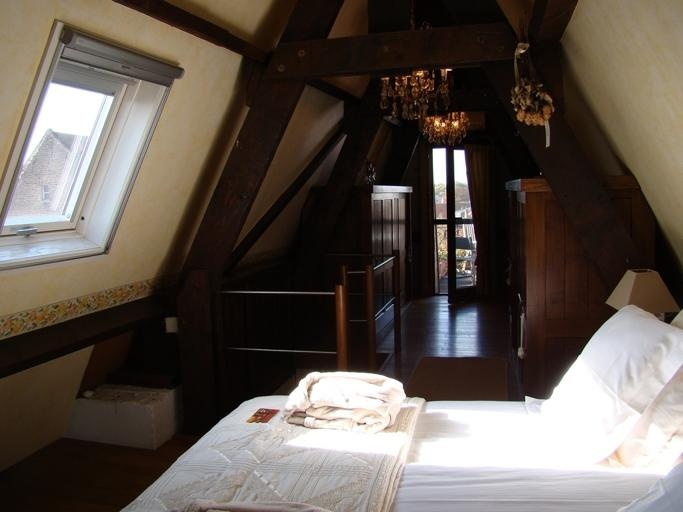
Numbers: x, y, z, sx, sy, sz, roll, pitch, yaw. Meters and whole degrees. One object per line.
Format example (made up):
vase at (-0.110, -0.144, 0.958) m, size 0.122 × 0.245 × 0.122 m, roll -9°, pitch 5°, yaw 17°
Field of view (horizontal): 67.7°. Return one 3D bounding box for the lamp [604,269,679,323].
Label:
lamp at (1.818, 0.192, 3.107) m, size 0.313 × 0.316 × 0.337 m, roll -2°, pitch 3°, yaw 7°
